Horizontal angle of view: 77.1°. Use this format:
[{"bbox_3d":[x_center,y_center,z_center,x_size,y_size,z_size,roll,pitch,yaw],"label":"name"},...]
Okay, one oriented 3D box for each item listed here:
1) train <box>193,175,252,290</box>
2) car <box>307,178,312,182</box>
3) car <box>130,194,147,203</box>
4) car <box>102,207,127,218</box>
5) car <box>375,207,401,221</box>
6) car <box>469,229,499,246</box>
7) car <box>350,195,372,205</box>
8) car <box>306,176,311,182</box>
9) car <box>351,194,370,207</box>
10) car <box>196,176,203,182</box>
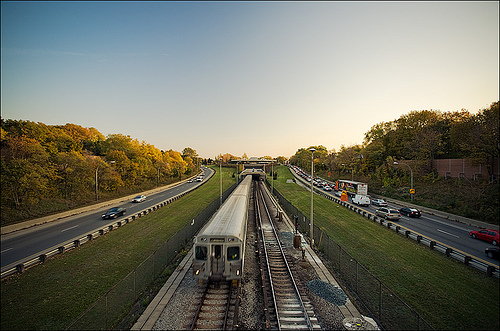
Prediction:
[{"bbox_3d":[-2.177,7.157,46.397,4.551,6.226,30.001,1,11,4],"label":"train"},{"bbox_3d":[19.657,4.892,104.504,1.870,0.888,2.883,-4,-5,2],"label":"car"},{"bbox_3d":[-22.759,6.850,65.006,1.138,0.905,2.616,8,9,-2],"label":"car"},{"bbox_3d":[-21.800,7.610,50.909,1.175,1.236,3.572,-2,-1,28],"label":"car"},{"bbox_3d":[22.160,7.793,50.474,2.003,2.214,3.188,-1,-1,-40],"label":"car"},{"bbox_3d":[30.942,9.313,41.325,1.641,1.385,2.744,0,7,-30],"label":"car"},{"bbox_3d":[21.723,6.817,61.564,1.822,1.601,3.234,1,3,-5],"label":"car"},{"bbox_3d":[20.676,4.749,111.282,1.622,2.347,5.762,-2,-5,12],"label":"car"},{"bbox_3d":[21.678,6.653,61.351,1.502,1.421,2.822,1,6,-7],"label":"car"},{"bbox_3d":[-17.838,4.688,109.741,1.460,1.922,5.095,2,3,4],"label":"car"}]
